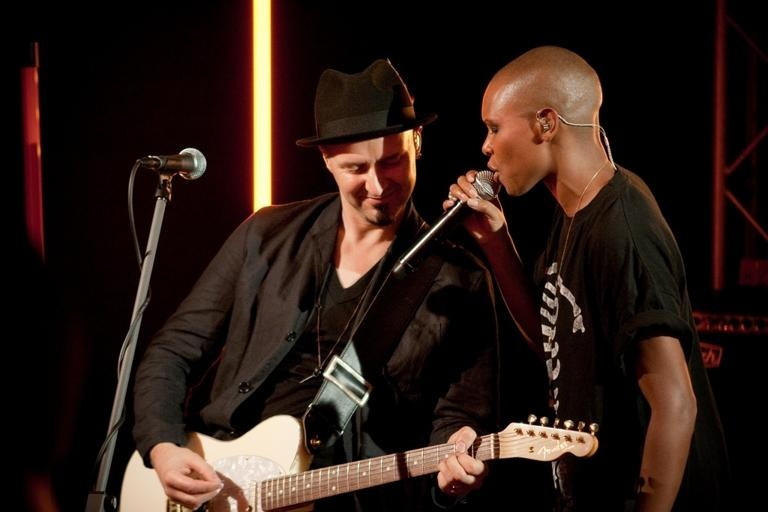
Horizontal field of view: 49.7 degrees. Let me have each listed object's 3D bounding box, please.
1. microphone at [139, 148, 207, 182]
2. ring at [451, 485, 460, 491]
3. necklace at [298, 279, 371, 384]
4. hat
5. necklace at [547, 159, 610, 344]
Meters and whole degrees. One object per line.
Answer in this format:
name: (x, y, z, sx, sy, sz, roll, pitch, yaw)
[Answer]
microphone: (-0.842, -0.378, 3.458, 0.121, 0.154, 0.334, -9, -8, 36)
ring: (0.273, 0.879, 3.174, 0.021, 0.005, 0.016, -16, -52, 35)
necklace: (-0.204, 0.259, 3.612, 0.199, 0.582, 0.061, 17, -14, 22)
hat: (-0.089, -0.568, 3.509, 0.388, 0.205, 0.398, -14, 8, 35)
necklace: (0.715, -0.003, 3.271, 0.085, 0.710, 0.247, 0, 21, -15)
